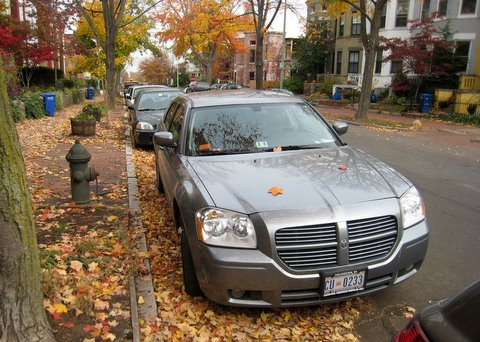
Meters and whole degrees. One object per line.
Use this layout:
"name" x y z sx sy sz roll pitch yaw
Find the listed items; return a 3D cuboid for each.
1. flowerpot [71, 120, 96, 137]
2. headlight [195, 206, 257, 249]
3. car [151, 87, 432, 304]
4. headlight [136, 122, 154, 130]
"flowerpot" -6.245 -1.632 12.798 0.686 0.454 0.662 1 5 -14
"headlight" -0.120 0.562 3.133 0.603 0.328 0.187 7 17 17
"car" 0.191 -0.210 5.553 2.973 1.951 5.650 -3 19 -17
"headlight" -3.196 -1.512 10.826 0.617 0.243 0.124 7 18 19
